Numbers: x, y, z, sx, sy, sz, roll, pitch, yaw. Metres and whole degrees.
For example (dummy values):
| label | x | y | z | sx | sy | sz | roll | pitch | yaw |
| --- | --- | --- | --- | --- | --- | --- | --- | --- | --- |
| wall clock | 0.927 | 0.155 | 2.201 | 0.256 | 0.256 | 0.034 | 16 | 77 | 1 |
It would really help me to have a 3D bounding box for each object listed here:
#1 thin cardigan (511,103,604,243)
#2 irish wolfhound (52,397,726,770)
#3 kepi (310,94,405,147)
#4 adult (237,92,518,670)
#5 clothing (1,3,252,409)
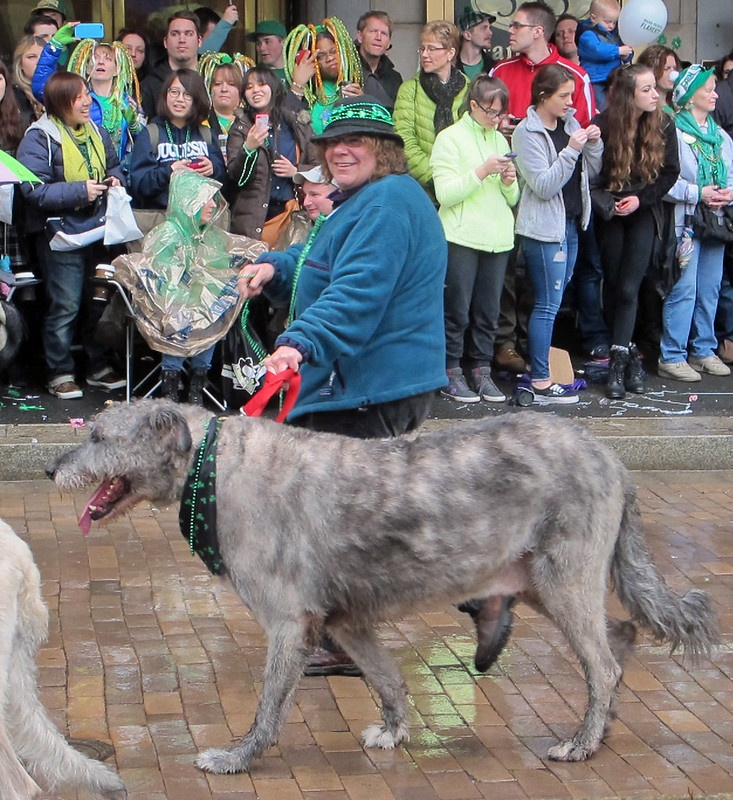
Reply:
| label | x | y | z | sx | sy | sz | roll | pitch | yaw |
| --- | --- | --- | --- | --- | --- | --- | --- | --- | --- |
| thin cardigan | 1.624 | -1.858 | 7.986 | 0.795 | 1.097 | 0.501 | -9 | 16 | -40 |
| irish wolfhound | 0.044 | 0.613 | 3.243 | 2.370 | 1.021 | 0.547 | 4 | -4 | -3 |
| kepi | -0.033 | -1.068 | 3.611 | 0.264 | 0.103 | 0.219 | 0 | -13 | -4 |
| adult | -0.037 | -0.048 | 3.984 | 1.521 | 2.239 | 1.073 | 3 | -1 | -11 |
| clothing | -2.182 | -1.532 | 7.642 | 1.357 | 2.997 | 1.152 | 9 | 15 | 30 |
